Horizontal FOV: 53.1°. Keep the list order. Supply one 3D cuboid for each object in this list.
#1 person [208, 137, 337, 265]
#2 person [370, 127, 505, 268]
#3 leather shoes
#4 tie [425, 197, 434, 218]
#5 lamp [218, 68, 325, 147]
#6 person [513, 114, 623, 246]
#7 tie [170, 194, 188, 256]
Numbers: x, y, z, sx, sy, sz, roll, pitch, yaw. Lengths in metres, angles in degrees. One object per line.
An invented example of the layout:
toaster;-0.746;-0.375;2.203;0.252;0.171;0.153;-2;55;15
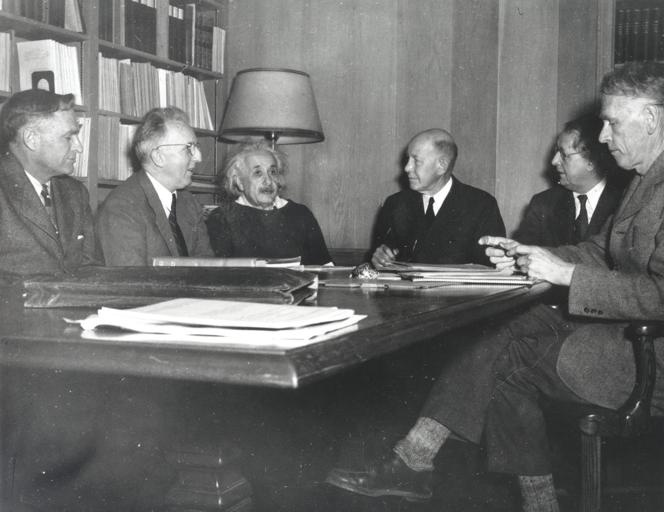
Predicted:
person;-0.358;-0.231;3.551;0.795;0.726;0.429;-7;9;-24
person;0.626;-0.283;3.881;0.895;0.849;0.538;10;17;37
leather shoes;0.195;0.756;2.347;0.450;0.170;0.152;-7;-12;33
tie;0.568;-0.277;3.819;0.034;0.037;0.139;-2;43;22
lamp;-0.333;-0.794;3.922;0.551;0.610;0.555;1;2;-1
person;1.245;-0.331;3.425;0.309;0.698;0.470;-5;41;-5
tie;-0.680;-0.139;2.891;0.056;0.363;0.043;-17;-23;9
